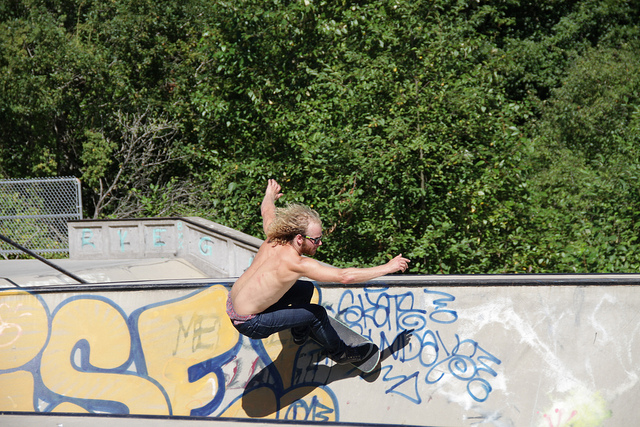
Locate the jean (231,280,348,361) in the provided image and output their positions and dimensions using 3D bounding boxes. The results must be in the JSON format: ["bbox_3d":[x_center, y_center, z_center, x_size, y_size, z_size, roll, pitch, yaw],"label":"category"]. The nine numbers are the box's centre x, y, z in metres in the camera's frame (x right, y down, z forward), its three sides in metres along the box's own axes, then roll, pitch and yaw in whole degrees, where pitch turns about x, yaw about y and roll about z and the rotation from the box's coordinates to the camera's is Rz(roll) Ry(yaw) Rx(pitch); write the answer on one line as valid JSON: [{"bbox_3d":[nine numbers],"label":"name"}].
[{"bbox_3d":[-0.461,2.315,21.272,2.607,1.548,0.908,0,1,-15],"label":"jean"}]
